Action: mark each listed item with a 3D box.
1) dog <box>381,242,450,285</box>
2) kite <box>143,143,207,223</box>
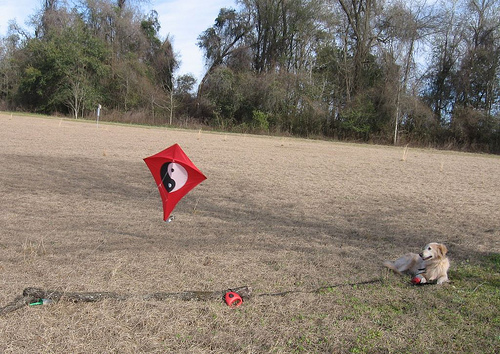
[{"bbox_3d":[3.803,1.855,9.025,0.705,0.694,1.222,6,-11,-2],"label":"dog"},{"bbox_3d":[-2.019,0.083,10.956,1.473,2.645,1.009,-7,-33,-6],"label":"kite"}]
